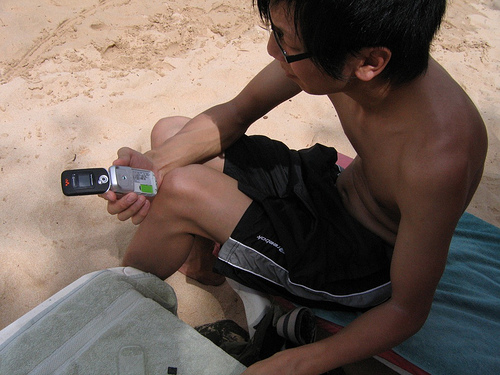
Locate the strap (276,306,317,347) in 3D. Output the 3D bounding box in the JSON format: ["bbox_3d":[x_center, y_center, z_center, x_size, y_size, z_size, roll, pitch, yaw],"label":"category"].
[{"bbox_3d":[0.210,0.615,2.161,0.139,0.169,0.170,-4,4,29],"label":"strap"}]

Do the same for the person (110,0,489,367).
[{"bbox_3d":[0.196,0.042,2.199,1.449,1.679,1.164,3,52,-1],"label":"person"}]
